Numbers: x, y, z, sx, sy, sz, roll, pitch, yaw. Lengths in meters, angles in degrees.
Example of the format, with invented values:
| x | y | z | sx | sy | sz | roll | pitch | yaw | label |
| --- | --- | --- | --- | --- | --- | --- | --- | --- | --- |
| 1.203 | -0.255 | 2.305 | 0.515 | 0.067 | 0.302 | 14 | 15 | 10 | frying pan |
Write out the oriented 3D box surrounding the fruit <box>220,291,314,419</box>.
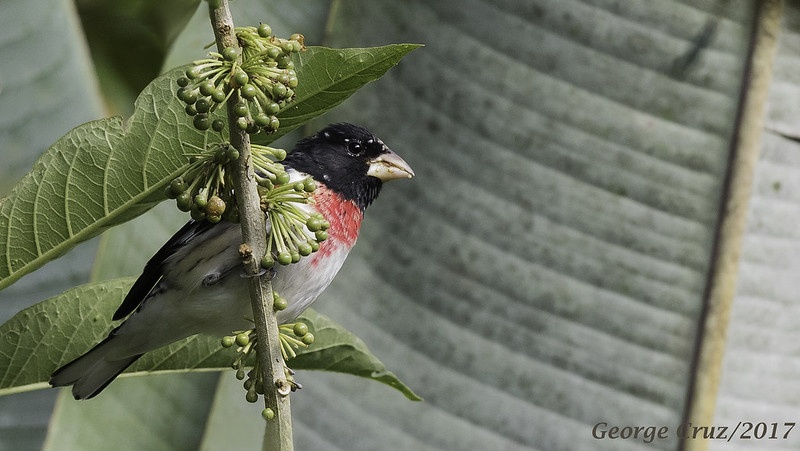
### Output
| x | y | z | sx | sy | sz | roll | pitch | yaw | label |
| --- | --- | --- | --- | --- | --- | --- | --- | --- | --- |
| -0.453 | 0.442 | 3.079 | 0.285 | 0.345 | 0.475 | 26 | -12 | 1 | fruit |

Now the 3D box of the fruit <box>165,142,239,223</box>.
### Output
| x | y | z | sx | sy | sz | roll | pitch | yaw | label |
| --- | --- | --- | --- | --- | --- | --- | --- | --- | --- |
| -0.618 | -0.142 | 2.880 | 0.199 | 0.232 | 0.130 | 20 | -15 | 27 | fruit |

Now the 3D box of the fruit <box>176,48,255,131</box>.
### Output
| x | y | z | sx | sy | sz | roll | pitch | yaw | label |
| --- | --- | --- | --- | --- | --- | --- | --- | --- | --- |
| -0.557 | -0.405 | 2.880 | 0.220 | 0.264 | 0.162 | -11 | 2 | 14 | fruit |
